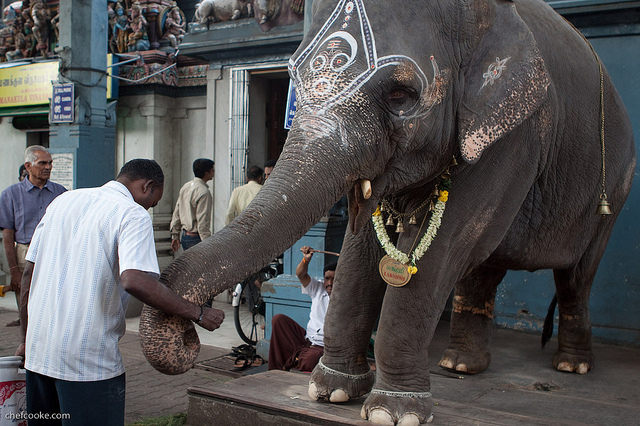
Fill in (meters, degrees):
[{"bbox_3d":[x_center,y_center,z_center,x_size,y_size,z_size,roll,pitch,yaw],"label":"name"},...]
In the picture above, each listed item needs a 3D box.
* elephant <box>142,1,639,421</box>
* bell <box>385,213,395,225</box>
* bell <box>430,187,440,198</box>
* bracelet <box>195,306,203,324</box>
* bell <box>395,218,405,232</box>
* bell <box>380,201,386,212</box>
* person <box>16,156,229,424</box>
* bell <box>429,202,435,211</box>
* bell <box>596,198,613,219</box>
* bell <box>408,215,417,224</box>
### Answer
[{"bbox_3d":[0.471,-0.132,5.253,3.853,3.094,2.049,1,-1,-29],"label":"elephant"},{"bbox_3d":[0.442,0.043,4.200,0.054,0.059,0.049,0,-1,30],"label":"bell"},{"bbox_3d":[0.707,-0.127,4.095,0.050,0.059,0.051,1,-1,2],"label":"bell"},{"bbox_3d":[-0.630,0.523,3.450,0.036,0.100,0.064,-1,5,-21],"label":"bracelet"},{"bbox_3d":[0.487,0.062,4.133,0.051,0.095,0.055,1,-4,-3],"label":"bell"},{"bbox_3d":[0.399,-0.041,4.228,0.043,0.080,0.045,1,0,8],"label":"bell"},{"bbox_3d":[-1.297,0.502,3.991,1.556,1.658,0.647,5,6,44],"label":"person"},{"bbox_3d":[0.688,-0.047,4.092,0.030,0.050,0.013,-2,-12,11],"label":"bell"},{"bbox_3d":[2.014,-0.028,4.708,0.111,0.136,0.115,-1,3,24],"label":"bell"},{"bbox_3d":[0.577,0.037,4.140,0.049,0.050,0.042,1,-5,11],"label":"bell"}]
